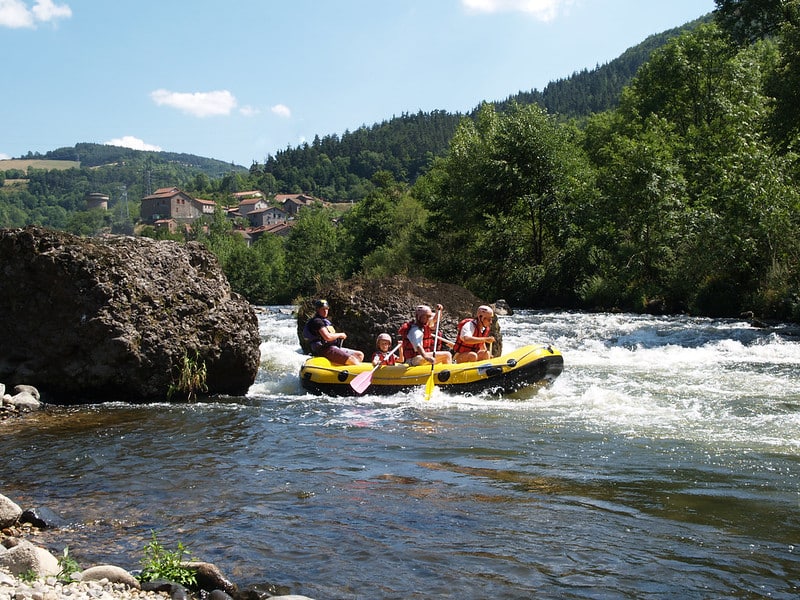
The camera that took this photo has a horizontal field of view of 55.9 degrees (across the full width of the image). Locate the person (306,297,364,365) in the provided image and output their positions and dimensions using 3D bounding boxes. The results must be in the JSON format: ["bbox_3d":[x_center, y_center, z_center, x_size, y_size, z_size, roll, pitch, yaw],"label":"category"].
[{"bbox_3d":[-1.163,0.571,14.484,1.183,1.150,0.867,-3,-1,-2],"label":"person"}]

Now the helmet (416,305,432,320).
[{"bbox_3d":[0.456,0.236,14.084,0.239,0.254,0.201,13,13,-9],"label":"helmet"}]

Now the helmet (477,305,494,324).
[{"bbox_3d":[1.631,0.271,14.032,0.335,0.320,0.265,6,8,-9],"label":"helmet"}]

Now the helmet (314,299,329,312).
[{"bbox_3d":[-1.457,0.106,14.293,0.196,0.220,0.243,5,-9,-40],"label":"helmet"}]

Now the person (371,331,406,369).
[{"bbox_3d":[-0.246,0.926,14.442,0.325,0.327,0.831,1,28,-5],"label":"person"}]

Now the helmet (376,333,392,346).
[{"bbox_3d":[-0.295,0.728,14.278,0.180,0.188,0.241,-1,-17,-1],"label":"helmet"}]

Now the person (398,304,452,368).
[{"bbox_3d":[0.416,0.710,14.298,0.985,1.266,1.082,-4,-6,8],"label":"person"}]
